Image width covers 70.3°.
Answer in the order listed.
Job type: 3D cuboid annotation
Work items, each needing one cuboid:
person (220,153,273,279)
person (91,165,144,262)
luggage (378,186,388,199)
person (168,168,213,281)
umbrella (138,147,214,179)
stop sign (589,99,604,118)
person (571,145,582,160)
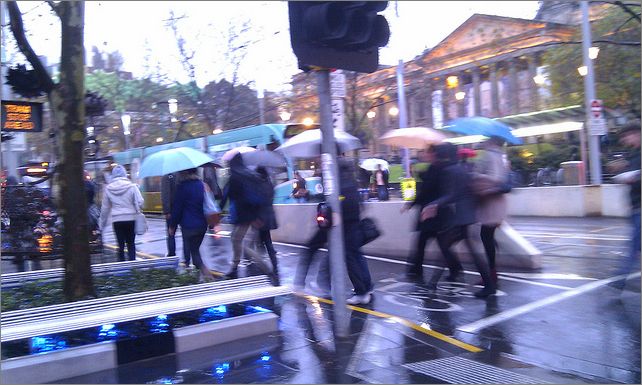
[{"bbox_3d":[-1.479,0.536,8.887,0.701,2.562,1.332,-10,10,-37],"label":"person"},{"bbox_3d":[-4.421,0.510,10.032,0.877,2.179,0.872,-7,9,-26],"label":"person"},{"bbox_3d":[3.376,0.011,24.923,0.515,0.755,0.851,-3,7,6],"label":"luggage"},{"bbox_3d":[-2.500,0.588,8.572,0.712,2.070,0.617,-5,8,-8],"label":"person"},{"bbox_3d":[-2.933,-0.519,8.588,0.924,0.280,0.861,-16,-2,23],"label":"umbrella"},{"bbox_3d":[10.018,-3.017,16.571,0.361,0.686,0.554,1,8,28],"label":"stop sign"},{"bbox_3d":[14.589,-2.277,26.136,0.471,0.806,0.829,0,8,27],"label":"person"}]
